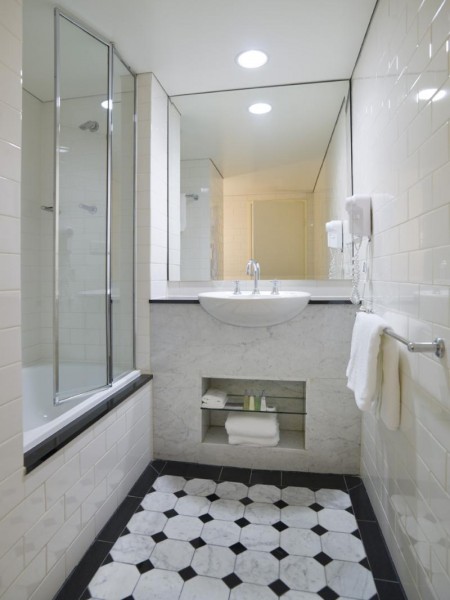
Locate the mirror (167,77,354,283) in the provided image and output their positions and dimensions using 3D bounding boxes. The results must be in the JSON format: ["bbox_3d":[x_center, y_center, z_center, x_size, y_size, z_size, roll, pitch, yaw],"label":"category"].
[{"bbox_3d":[0.236,-0.673,2.487,0.819,1.149,0.014,0,0,3],"label":"mirror"}]

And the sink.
[{"bbox_3d":[0.118,0.050,1.990,0.505,0.150,0.220,2,6,15],"label":"sink"}]

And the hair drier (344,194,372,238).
[{"bbox_3d":[0.549,-0.408,1.901,0.090,0.143,0.213,0,-37,4],"label":"hair drier"}]
